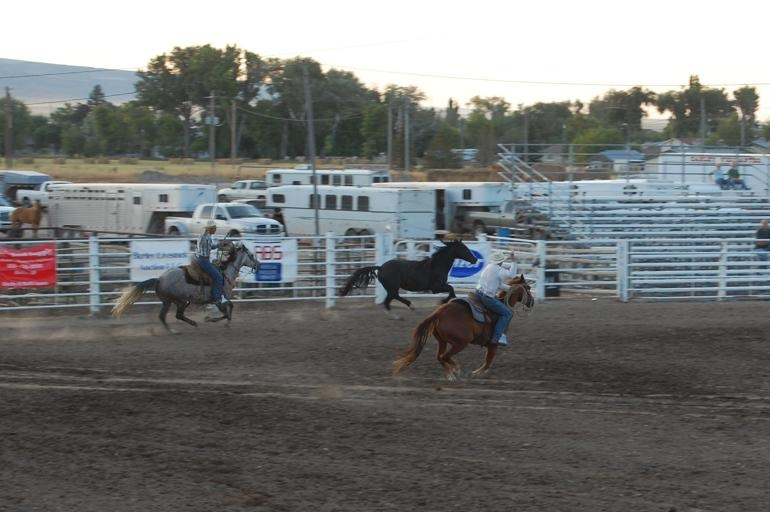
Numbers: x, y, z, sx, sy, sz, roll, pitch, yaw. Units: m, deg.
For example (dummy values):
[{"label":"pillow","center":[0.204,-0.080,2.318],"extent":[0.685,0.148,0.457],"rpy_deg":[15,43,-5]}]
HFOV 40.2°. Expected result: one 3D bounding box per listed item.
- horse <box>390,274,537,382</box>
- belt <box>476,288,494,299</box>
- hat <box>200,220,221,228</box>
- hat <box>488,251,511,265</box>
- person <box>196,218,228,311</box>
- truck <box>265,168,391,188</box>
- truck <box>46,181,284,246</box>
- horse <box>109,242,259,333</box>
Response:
[{"label":"horse","center":[1.460,1.426,20.010],"extent":[3.767,1.374,0.961],"rpy_deg":[-7,8,-41]},{"label":"belt","center":[1.876,0.723,19.736],"extent":[0.385,0.069,0.206],"rpy_deg":[4,10,-7]},{"label":"hat","center":[-5.091,-0.912,30.837],"extent":[0.749,0.134,0.655],"rpy_deg":[-1,4,-9]},{"label":"hat","center":[2.210,0.071,20.125],"extent":[0.507,0.077,0.367],"rpy_deg":[-4,7,10]},{"label":"person","center":[-3.833,0.250,23.218],"extent":[0.524,2.009,0.491],"rpy_deg":[2,5,25]},{"label":"truck","center":[-3.741,-3.453,46.881],"extent":[6.647,0.919,1.655],"rpy_deg":[1,5,16]},{"label":"truck","center":[-9.550,-1.137,42.021],"extent":[8.711,1.543,2.698],"rpy_deg":[2,8,15]},{"label":"horse","center":[-4.154,0.785,23.352],"extent":[4.333,1.353,0.759],"rpy_deg":[-7,-15,23]}]
